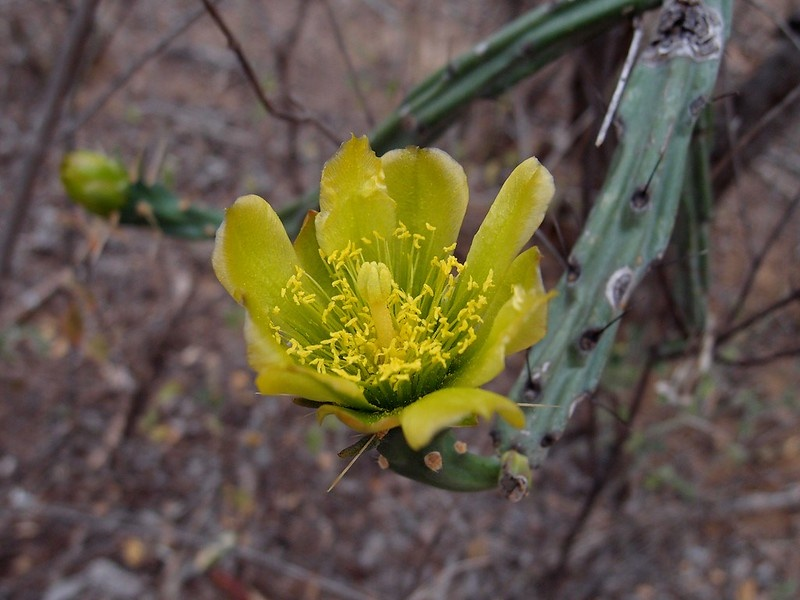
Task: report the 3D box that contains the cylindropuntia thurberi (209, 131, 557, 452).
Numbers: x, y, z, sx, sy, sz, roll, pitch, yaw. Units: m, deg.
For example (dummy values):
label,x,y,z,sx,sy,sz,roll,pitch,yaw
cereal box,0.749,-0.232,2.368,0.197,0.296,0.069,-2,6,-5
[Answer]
label,x,y,z,sx,sy,sz,roll,pitch,yaw
cylindropuntia thurberi,-0.005,-0.042,1.411,0.518,0.255,0.563,33,78,10
